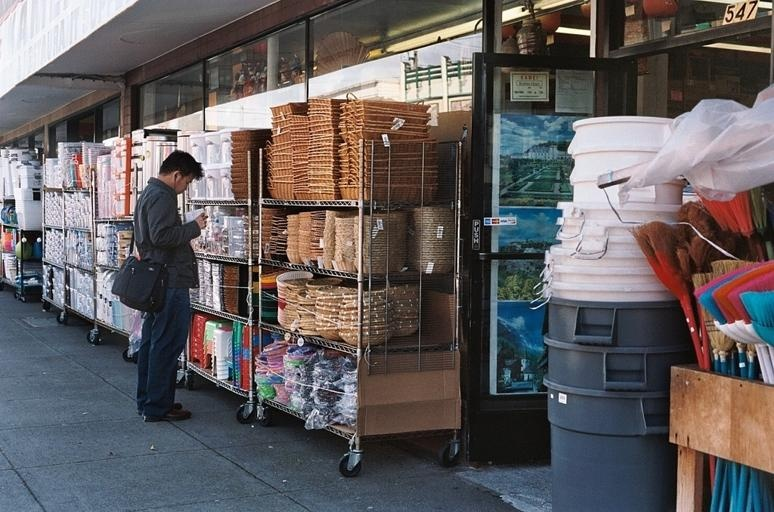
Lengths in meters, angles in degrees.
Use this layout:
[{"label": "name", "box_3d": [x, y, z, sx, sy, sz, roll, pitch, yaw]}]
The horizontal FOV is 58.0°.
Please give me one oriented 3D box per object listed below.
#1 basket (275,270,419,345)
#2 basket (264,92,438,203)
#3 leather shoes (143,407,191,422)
[{"label": "basket", "box_3d": [-0.342, 0.428, 5.600, 0.565, 0.452, 1.181, -4, 5, -41]}, {"label": "basket", "box_3d": [-0.368, -0.825, 5.485, 1.394, 0.840, 0.583, 3, 5, 36]}, {"label": "leather shoes", "box_3d": [-2.020, 1.443, 6.376, 0.274, 0.104, 0.145, -6, 6, -26]}]
